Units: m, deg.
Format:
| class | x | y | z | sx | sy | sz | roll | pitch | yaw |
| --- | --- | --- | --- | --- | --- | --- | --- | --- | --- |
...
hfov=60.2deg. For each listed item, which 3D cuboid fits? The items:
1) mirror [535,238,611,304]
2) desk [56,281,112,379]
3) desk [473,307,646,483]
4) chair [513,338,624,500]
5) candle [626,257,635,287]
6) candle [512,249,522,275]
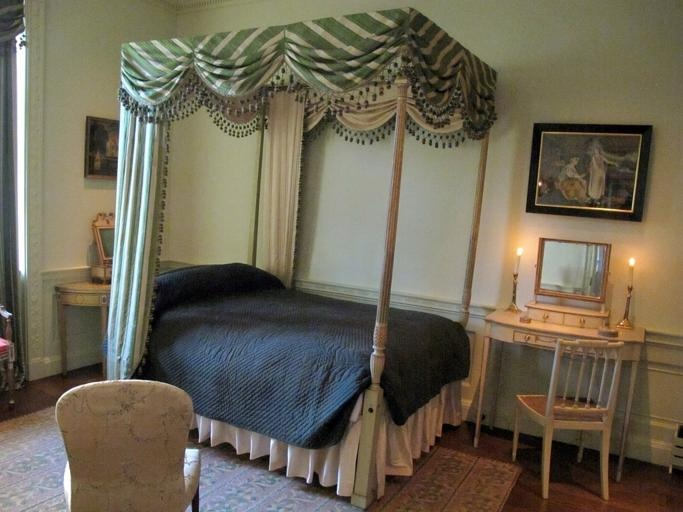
| class | x | y | z | sx | sy | sz | roll | pitch | yaw |
| --- | --- | --- | --- | --- | --- | --- | --- | --- | --- |
| mirror | 1.980 | 0.125 | 4.977 | 0.454 | 0.524 | 0.036 | 5 | 4 | 27 |
| desk | -2.498 | 0.697 | 5.682 | 0.473 | 0.881 | 0.439 | 2 | 5 | -27 |
| desk | 1.816 | 1.141 | 4.764 | 1.064 | 1.055 | 0.477 | 6 | -2 | 31 |
| chair | 1.778 | 1.181 | 4.664 | 0.737 | 1.188 | 0.995 | 6 | 5 | 27 |
| candle | 2.369 | 0.128 | 4.818 | 0.060 | 0.242 | 0.105 | 6 | 5 | 22 |
| candle | 1.538 | 0.044 | 5.145 | 0.076 | 0.230 | 0.145 | 5 | 5 | 17 |
